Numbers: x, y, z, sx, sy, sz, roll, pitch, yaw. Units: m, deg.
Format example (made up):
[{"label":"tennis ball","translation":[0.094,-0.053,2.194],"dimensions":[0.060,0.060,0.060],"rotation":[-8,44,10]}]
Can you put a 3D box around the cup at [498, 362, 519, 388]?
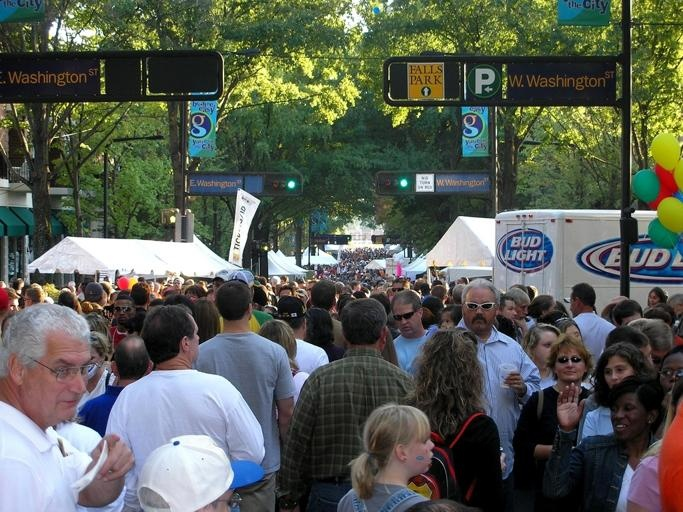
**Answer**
[{"label":"cup","translation":[1.710,1.222,11.254],"dimensions":[0.215,0.249,0.223],"rotation":[2,10,0]}]

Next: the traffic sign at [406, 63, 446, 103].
[{"label":"traffic sign","translation":[1.477,-2.934,18.667],"dimensions":[0.637,0.692,0.087],"rotation":[0,-3,7]}]

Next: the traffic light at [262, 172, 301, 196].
[{"label":"traffic light","translation":[-1.690,-2.067,31.919],"dimensions":[1.110,0.623,0.356],"rotation":[2,2,-5]}]

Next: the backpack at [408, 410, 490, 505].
[{"label":"backpack","translation":[0.950,1.825,9.865],"dimensions":[0.398,0.818,0.745],"rotation":[3,2,31]}]

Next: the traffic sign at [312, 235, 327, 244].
[{"label":"traffic sign","translation":[-1.452,-1.329,78.980],"dimensions":[0.773,0.513,0.798],"rotation":[0,-7,-11]}]

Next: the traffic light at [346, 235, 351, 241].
[{"label":"traffic light","translation":[0.629,-1.300,81.144],"dimensions":[0.395,0.416,0.264],"rotation":[-2,35,-2]}]
